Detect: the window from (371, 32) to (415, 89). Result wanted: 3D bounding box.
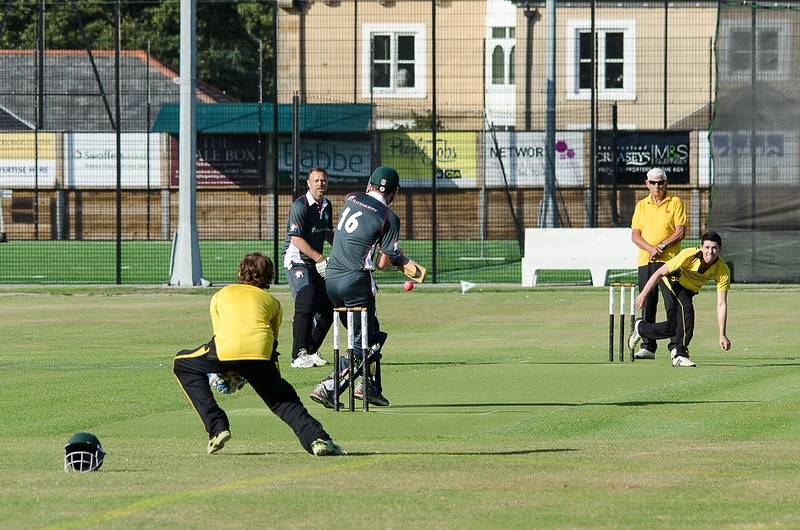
[{"bbox_3d":[-0.279,-7.260,54.879,1.892,1.710,0.209,-6,1,-18],"label":"window"}]

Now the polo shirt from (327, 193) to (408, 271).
[{"bbox_3d":[-0.662,-0.548,29.388,1.409,1.564,0.266,0,0,14],"label":"polo shirt"}]

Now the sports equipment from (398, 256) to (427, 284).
[{"bbox_3d":[0.231,0.116,29.284,0.611,0.324,0.145,38,-12,-7],"label":"sports equipment"}]

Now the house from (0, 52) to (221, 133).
[{"bbox_3d":[-11.644,-6.560,59.019,6.472,2.125,4.601,0,5,0],"label":"house"}]

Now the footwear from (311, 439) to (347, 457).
[{"bbox_3d":[-1.244,3.189,27.241,0.650,0.299,0.239,5,12,-16],"label":"footwear"}]

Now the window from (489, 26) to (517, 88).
[{"bbox_3d":[3.785,-7.530,55.783,1.199,2.728,0.221,5,12,41],"label":"window"}]

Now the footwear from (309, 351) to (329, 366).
[{"bbox_3d":[-1.625,1.933,31.897,0.454,0.211,0.179,5,4,41],"label":"footwear"}]

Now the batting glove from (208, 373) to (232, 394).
[{"bbox_3d":[-3.185,2.125,27.846,0.285,0.373,0.323,-17,1,16],"label":"batting glove"}]

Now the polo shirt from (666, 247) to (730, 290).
[{"bbox_3d":[6.188,-0.035,32.157,1.362,0.735,1.022,20,21,2],"label":"polo shirt"}]

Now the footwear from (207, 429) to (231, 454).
[{"bbox_3d":[-3.134,3.114,27.303,0.398,0.425,0.344,0,0,-12],"label":"footwear"}]

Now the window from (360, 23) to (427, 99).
[{"bbox_3d":[-0.161,-7.188,55.200,2.400,2.708,0.284,3,6,22],"label":"window"}]
